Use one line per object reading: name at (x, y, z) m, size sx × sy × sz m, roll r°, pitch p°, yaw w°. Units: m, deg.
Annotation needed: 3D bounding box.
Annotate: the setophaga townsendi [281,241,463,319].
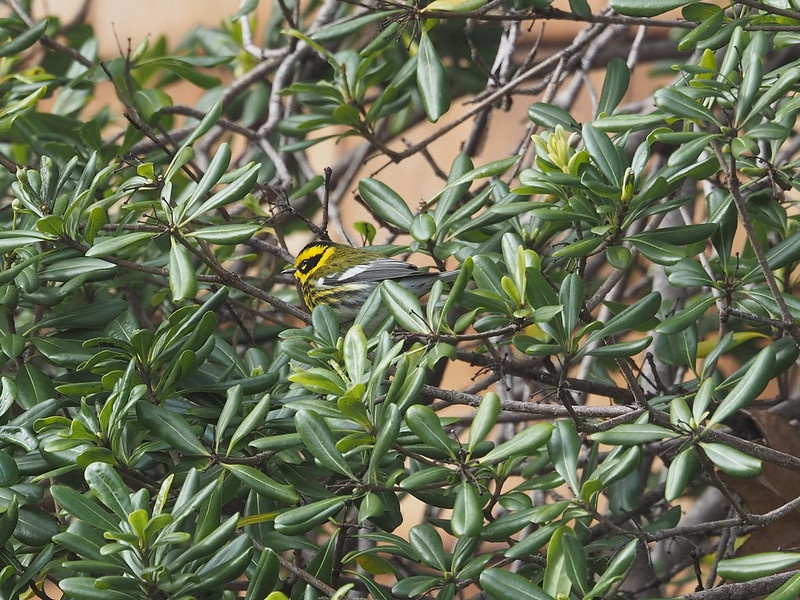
setophaga townsendi at (-0.084, -0.090, 6.914) m, size 1.173 × 0.484 × 0.366 m, roll -2°, pitch -6°, yaw 29°
